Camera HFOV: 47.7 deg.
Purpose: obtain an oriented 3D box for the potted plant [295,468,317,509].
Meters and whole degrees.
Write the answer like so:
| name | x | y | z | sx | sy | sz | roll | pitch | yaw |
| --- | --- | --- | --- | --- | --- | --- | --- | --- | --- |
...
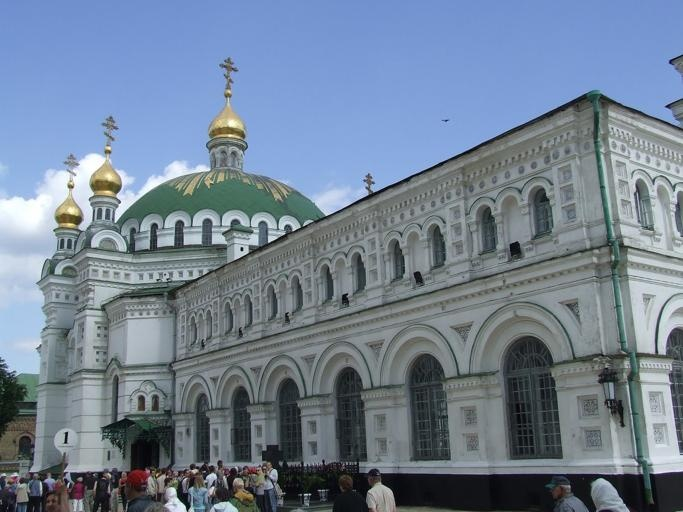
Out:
| name | x | y | z | sx | sy | sz | roll | pitch | yaw |
| --- | --- | --- | --- | --- | --- | --- | --- | --- | --- |
| potted plant | -1.226 | 8.061 | 27.020 | 0.780 | 1.002 | 0.809 | -1 | -20 | 3 |

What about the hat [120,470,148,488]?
| name | x | y | z | sx | sy | sz | roll | pitch | yaw |
| --- | --- | --- | --- | --- | --- | --- | --- | --- | --- |
| hat | -3.542 | 3.867 | 13.382 | 0.322 | 0.340 | 0.492 | 10 | -23 | -32 |

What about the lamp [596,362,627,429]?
| name | x | y | z | sx | sy | sz | roll | pitch | yaw |
| --- | --- | --- | --- | --- | --- | --- | --- | --- | --- |
| lamp | 7.108 | 3.685 | 20.329 | 0.577 | 1.560 | 0.467 | 0 | -19 | -9 |

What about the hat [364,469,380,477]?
| name | x | y | z | sx | sy | sz | roll | pitch | yaw |
| --- | --- | --- | --- | --- | --- | --- | --- | --- | --- |
| hat | 0.620 | 4.262 | 15.147 | 0.205 | 0.152 | 0.403 | -6 | -19 | 9 |
